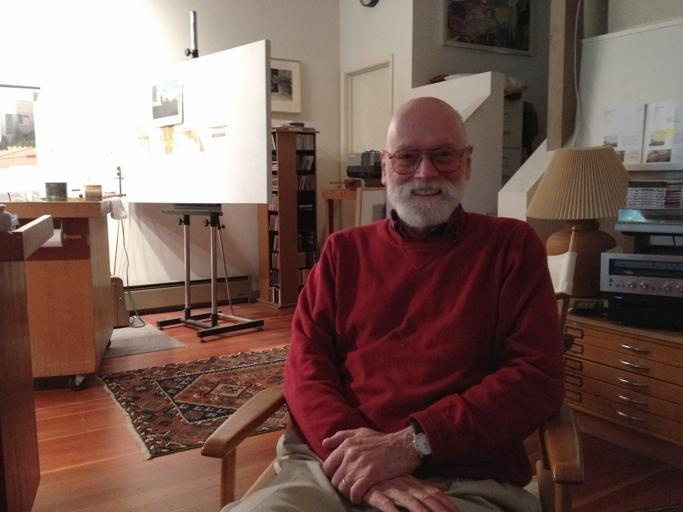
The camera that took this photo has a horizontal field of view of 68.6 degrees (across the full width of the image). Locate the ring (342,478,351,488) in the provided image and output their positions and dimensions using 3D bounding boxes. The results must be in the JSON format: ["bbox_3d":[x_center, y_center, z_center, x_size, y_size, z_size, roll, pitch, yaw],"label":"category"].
[{"bbox_3d":[0.017,0.633,1.396,0.020,0.005,0.020,0,-1,0],"label":"ring"}]

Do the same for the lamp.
[{"bbox_3d":[1.338,-0.193,2.808,0.539,0.790,0.531,3,4,28],"label":"lamp"}]

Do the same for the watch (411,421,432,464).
[{"bbox_3d":[0.218,0.532,1.421,0.037,0.101,0.072,-6,11,-26],"label":"watch"}]
